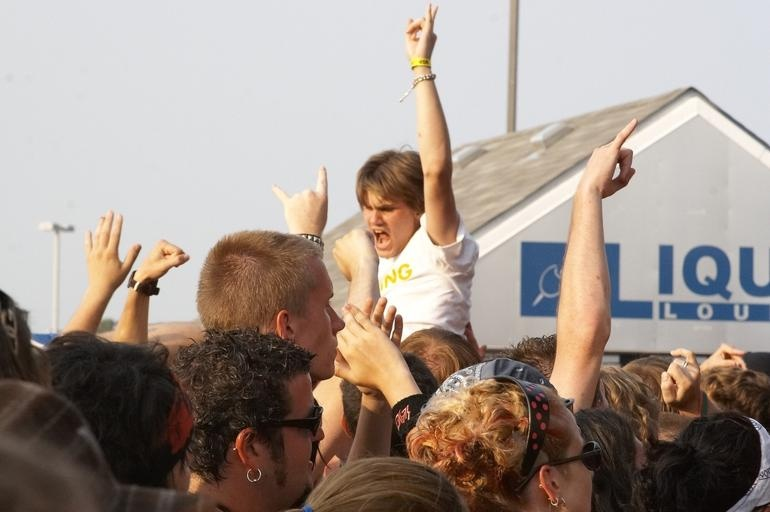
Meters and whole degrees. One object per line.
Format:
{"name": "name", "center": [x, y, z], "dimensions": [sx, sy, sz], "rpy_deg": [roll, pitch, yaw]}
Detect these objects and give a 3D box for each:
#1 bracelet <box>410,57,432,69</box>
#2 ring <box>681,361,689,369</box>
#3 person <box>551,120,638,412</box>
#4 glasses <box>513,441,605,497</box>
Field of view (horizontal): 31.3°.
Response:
{"name": "bracelet", "center": [0.176, -0.930, 6.686], "dimensions": [0.100, 0.056, 0.063], "rpy_deg": [1, -9, 7]}
{"name": "ring", "center": [1.470, 0.537, 6.678], "dimensions": [0.020, 0.015, 0.070], "rpy_deg": [0, 8, 15]}
{"name": "person", "center": [0.896, 0.064, 5.799], "dimensions": [0.336, 1.175, 0.182], "rpy_deg": [4, -8, -7]}
{"name": "glasses", "center": [0.694, 0.786, 5.190], "dimensions": [0.241, 0.082, 0.185], "rpy_deg": [-16, 2, -17]}
